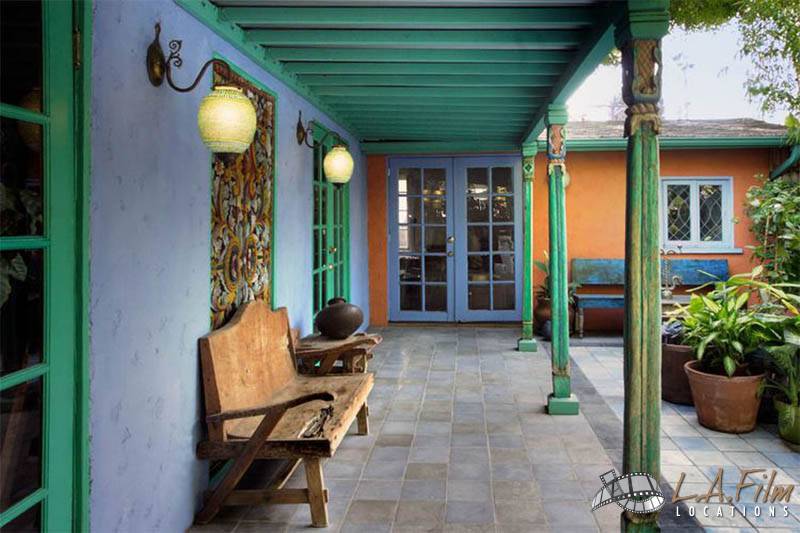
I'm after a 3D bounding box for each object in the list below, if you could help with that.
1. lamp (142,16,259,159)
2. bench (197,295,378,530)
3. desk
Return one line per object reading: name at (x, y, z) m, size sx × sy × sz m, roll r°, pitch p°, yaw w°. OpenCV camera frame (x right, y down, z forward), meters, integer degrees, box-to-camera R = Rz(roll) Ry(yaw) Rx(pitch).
lamp at (-1.176, -1.063, 3.744) m, size 0.547 × 0.813 × 0.524 m, roll 0°, pitch 3°, yaw 6°
bench at (-0.804, 0.956, 4.176) m, size 0.960 × 1.377 × 1.227 m, roll 0°, pitch 3°, yaw 6°
desk at (-0.571, 0.785, 5.408) m, size 0.700 × 0.869 × 1.290 m, roll 0°, pitch 1°, yaw 3°
